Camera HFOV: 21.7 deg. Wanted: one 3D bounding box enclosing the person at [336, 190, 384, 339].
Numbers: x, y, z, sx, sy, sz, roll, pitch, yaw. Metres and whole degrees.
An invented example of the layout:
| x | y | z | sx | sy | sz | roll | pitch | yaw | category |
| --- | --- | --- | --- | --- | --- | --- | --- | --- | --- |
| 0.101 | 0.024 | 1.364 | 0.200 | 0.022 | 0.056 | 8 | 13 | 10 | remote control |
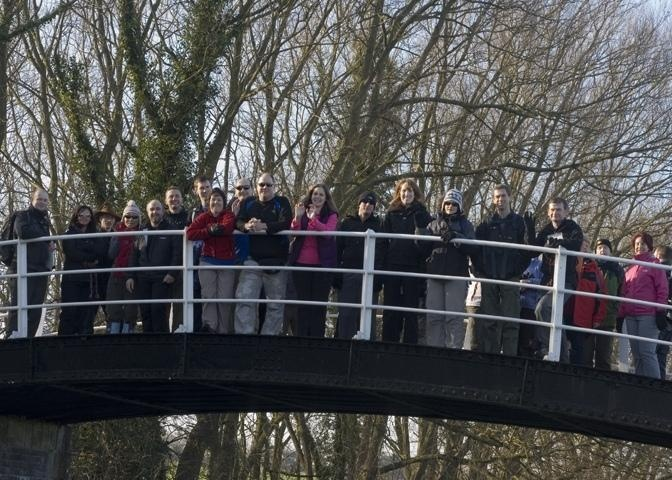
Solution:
| x | y | z | sx | sy | sz | roll | pitch | yaw | category |
| --- | --- | --- | --- | --- | --- | --- | --- | --- | --- |
| 0.467 | 0.579 | 37.009 | 1.001 | 3.234 | 0.645 | 4 | -6 | -1 | person |

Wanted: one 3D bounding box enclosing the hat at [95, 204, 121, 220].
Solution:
| x | y | z | sx | sy | sz | roll | pitch | yaw | category |
| --- | --- | --- | --- | --- | --- | --- | --- | --- | --- |
| -5.119 | -0.581 | 38.737 | 0.301 | 0.157 | 0.383 | 8 | -32 | -2 | hat |

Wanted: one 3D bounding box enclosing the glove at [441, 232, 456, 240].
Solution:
| x | y | z | sx | sy | sz | roll | pitch | yaw | category |
| --- | --- | --- | --- | --- | --- | --- | --- | --- | --- |
| 2.291 | -0.028 | 36.136 | 0.234 | 0.075 | 0.174 | -29 | 48 | -21 | glove |

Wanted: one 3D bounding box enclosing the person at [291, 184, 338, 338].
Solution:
| x | y | z | sx | sy | sz | roll | pitch | yaw | category |
| --- | --- | --- | --- | --- | --- | --- | --- | --- | --- |
| -0.504 | 0.473 | 36.869 | 1.001 | 3.305 | 0.652 | 4 | -6 | -1 | person |

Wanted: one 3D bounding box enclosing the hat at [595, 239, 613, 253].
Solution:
| x | y | z | sx | sy | sz | roll | pitch | yaw | category |
| --- | --- | --- | --- | --- | --- | --- | --- | --- | --- |
| 5.841 | 0.192 | 38.383 | 0.233 | 0.285 | 0.340 | 7 | 3 | 12 | hat |

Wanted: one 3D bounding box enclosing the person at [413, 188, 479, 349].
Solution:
| x | y | z | sx | sy | sz | roll | pitch | yaw | category |
| --- | --- | --- | --- | --- | --- | --- | --- | --- | --- |
| 2.318 | 0.631 | 36.576 | 1.007 | 3.392 | 0.966 | 4 | -6 | 5 | person |

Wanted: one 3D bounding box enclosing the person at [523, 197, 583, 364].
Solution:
| x | y | z | sx | sy | sz | roll | pitch | yaw | category |
| --- | --- | --- | --- | --- | --- | --- | --- | --- | --- |
| 4.587 | 0.881 | 36.579 | 0.949 | 3.474 | 0.881 | 3 | -6 | 6 | person |

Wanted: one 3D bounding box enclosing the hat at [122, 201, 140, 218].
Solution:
| x | y | z | sx | sy | sz | roll | pitch | yaw | category |
| --- | --- | --- | --- | --- | --- | --- | --- | --- | --- |
| -4.458 | -0.684 | 37.917 | 0.371 | 0.467 | 0.444 | 3 | -11 | -9 | hat |

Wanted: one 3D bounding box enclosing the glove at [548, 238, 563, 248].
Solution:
| x | y | z | sx | sy | sz | roll | pitch | yaw | category |
| --- | --- | --- | --- | --- | --- | --- | --- | --- | --- |
| 4.505 | 0.113 | 36.478 | 0.334 | 0.219 | 0.198 | 1 | -7 | 34 | glove |

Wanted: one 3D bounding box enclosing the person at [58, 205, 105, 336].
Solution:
| x | y | z | sx | sy | sz | roll | pitch | yaw | category |
| --- | --- | --- | --- | --- | --- | --- | --- | --- | --- |
| -5.567 | 0.716 | 37.863 | 0.835 | 2.922 | 0.769 | 5 | -6 | -10 | person |

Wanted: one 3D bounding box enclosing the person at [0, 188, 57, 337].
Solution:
| x | y | z | sx | sy | sz | roll | pitch | yaw | category |
| --- | --- | --- | --- | --- | --- | --- | --- | --- | --- |
| -6.721 | 0.565 | 37.818 | 1.109 | 3.362 | 1.537 | 5 | -6 | -10 | person |

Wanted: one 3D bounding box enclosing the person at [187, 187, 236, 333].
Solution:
| x | y | z | sx | sy | sz | roll | pitch | yaw | category |
| --- | --- | --- | --- | --- | --- | --- | --- | --- | --- |
| -2.596 | 0.483 | 36.578 | 1.030 | 3.101 | 1.078 | 4 | -6 | -3 | person |

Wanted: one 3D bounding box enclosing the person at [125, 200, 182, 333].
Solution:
| x | y | z | sx | sy | sz | roll | pitch | yaw | category |
| --- | --- | --- | --- | --- | --- | --- | --- | --- | --- |
| -3.895 | 0.610 | 37.422 | 1.143 | 2.882 | 0.755 | 4 | -6 | 1 | person |

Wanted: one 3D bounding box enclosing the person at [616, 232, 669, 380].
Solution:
| x | y | z | sx | sy | sz | roll | pitch | yaw | category |
| --- | --- | --- | --- | --- | --- | --- | --- | --- | --- |
| 6.477 | 1.411 | 36.792 | 0.807 | 3.142 | 1.216 | 7 | -6 | -26 | person |

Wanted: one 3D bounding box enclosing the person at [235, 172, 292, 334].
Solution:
| x | y | z | sx | sy | sz | roll | pitch | yaw | category |
| --- | --- | --- | --- | --- | --- | --- | --- | --- | --- |
| -1.564 | 0.361 | 36.613 | 1.122 | 3.477 | 0.797 | 4 | -6 | -2 | person |
